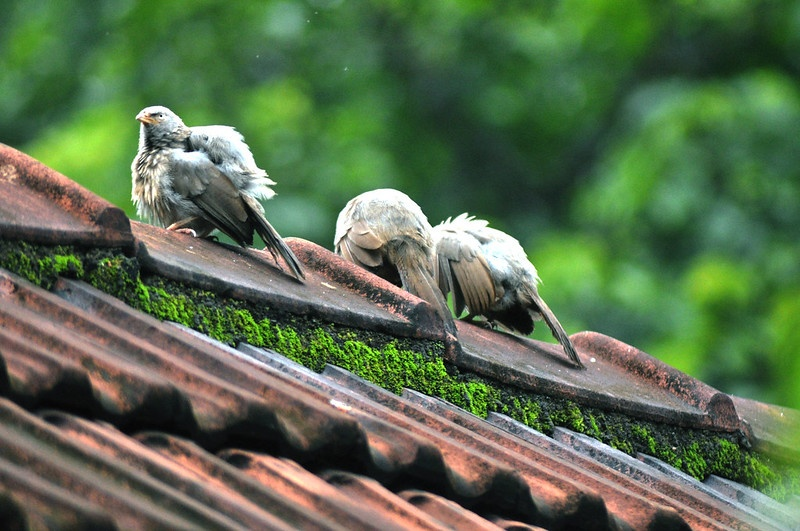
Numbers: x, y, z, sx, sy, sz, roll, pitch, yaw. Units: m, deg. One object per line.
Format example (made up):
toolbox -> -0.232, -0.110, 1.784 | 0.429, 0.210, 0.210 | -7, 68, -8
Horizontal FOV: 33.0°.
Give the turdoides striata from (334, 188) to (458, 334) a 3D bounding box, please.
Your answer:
turdoides striata -> 0.012, -0.174, 10.066 | 0.559, 0.820, 1.055 | 0, 0, -37
